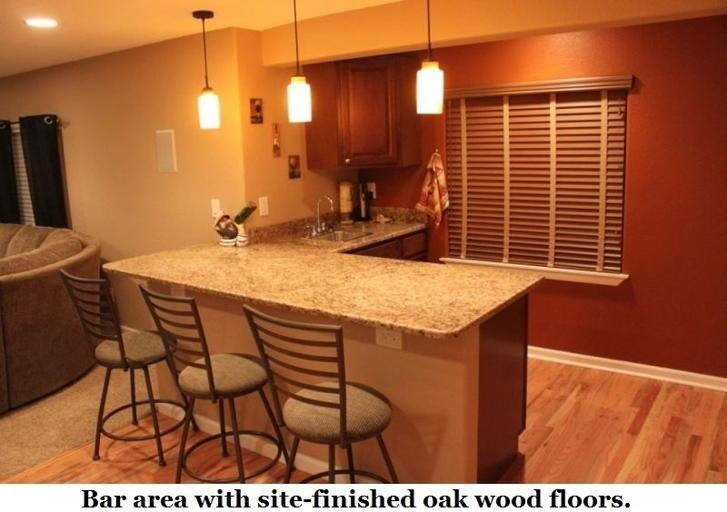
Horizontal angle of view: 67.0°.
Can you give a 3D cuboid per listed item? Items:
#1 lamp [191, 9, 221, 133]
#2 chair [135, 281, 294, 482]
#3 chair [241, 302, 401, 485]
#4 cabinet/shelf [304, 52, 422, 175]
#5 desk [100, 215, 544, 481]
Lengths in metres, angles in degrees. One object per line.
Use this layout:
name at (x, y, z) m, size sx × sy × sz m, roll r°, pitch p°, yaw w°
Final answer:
lamp at (-1.252, -1.437, 4.375) m, size 0.204 × 0.860 × 0.621 m, roll -8°, pitch 16°, yaw -15°
chair at (-0.889, 0.848, 3.575) m, size 0.806 × 1.454 × 0.619 m, roll 6°, pitch 15°, yaw 44°
chair at (-0.211, 0.901, 3.187) m, size 0.666 × 1.269 × 0.782 m, roll 6°, pitch 10°, yaw 32°
cabinet/shelf at (-0.067, -1.375, 5.261) m, size 1.174 × 1.060 × 0.609 m, roll -8°, pitch 15°, yaw -24°
desk at (-0.145, 0.677, 4.123) m, size 2.620 × 1.260 × 1.341 m, roll 5°, pitch 20°, yaw 38°
